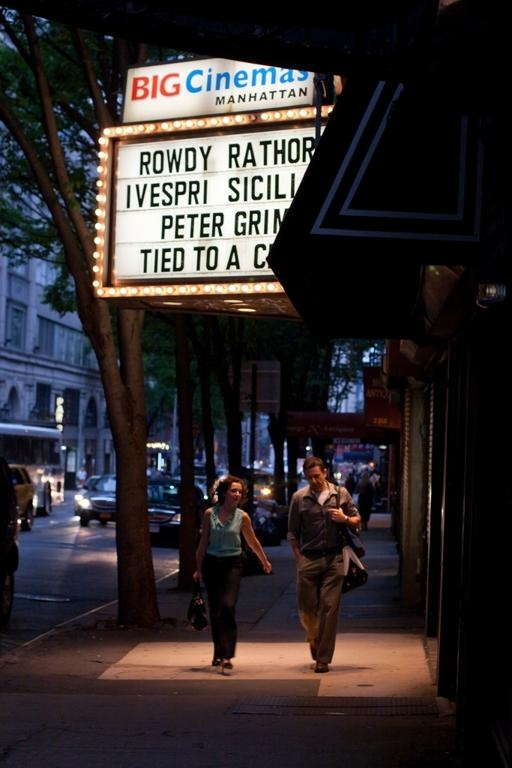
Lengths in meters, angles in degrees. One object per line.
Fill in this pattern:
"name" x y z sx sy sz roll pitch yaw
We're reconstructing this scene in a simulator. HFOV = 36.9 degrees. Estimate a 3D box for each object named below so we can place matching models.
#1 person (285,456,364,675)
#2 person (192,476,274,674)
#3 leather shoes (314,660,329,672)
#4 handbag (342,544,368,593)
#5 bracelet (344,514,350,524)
"person" 0.654 1.794 7.639 0.679 2.132 0.619 0 -4 -5
"person" -0.266 1.942 7.891 0.697 1.997 0.566 0 -4 -1
"leather shoes" 0.641 2.772 7.578 0.142 0.131 0.233 -1 -4 4
"handbag" 0.962 1.832 7.594 0.224 0.484 0.275 -1 -4 9
"bracelet" 0.883 1.313 7.497 0.046 0.065 0.069 -4 20 -14
